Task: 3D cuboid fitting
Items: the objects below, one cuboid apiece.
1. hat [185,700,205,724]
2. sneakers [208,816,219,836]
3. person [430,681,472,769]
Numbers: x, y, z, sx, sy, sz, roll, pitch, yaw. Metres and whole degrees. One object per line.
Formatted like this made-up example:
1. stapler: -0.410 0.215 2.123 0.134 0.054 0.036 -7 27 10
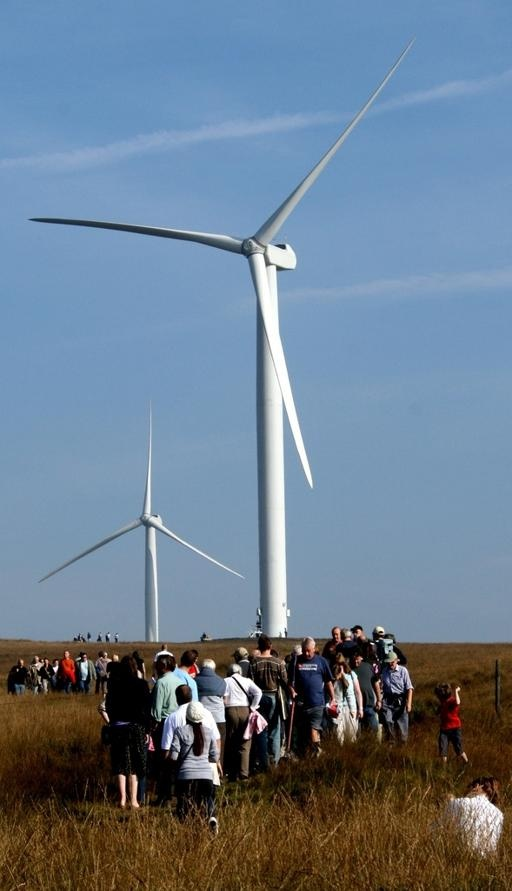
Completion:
1. hat: -0.520 2.293 9.658 0.159 0.177 0.185 -2 -5 -4
2. sneakers: -0.350 3.145 9.329 0.088 0.168 0.118 -4 24 -12
3. person: 2.659 3.773 15.223 0.396 1.212 2.199 -3 -5 10
